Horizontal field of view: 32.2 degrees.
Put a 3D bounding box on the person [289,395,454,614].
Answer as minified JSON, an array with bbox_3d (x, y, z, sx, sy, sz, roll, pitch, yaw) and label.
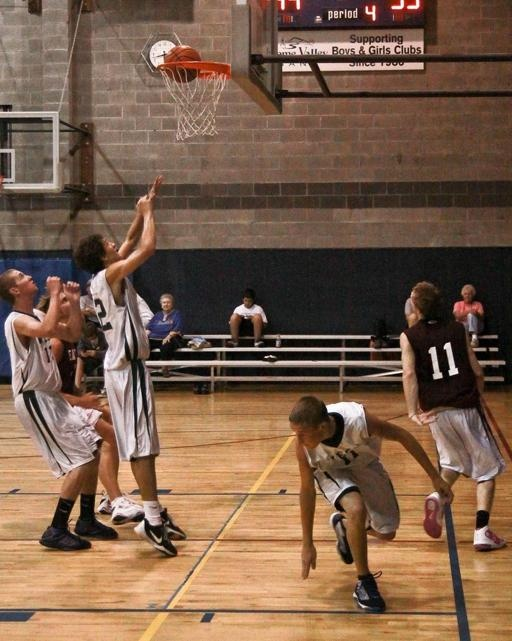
[{"bbox_3d":[0.495,0.686,3.777,0.488,0.806,0.768,2,8,32],"label":"person"}]

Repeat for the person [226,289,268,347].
[{"bbox_3d":[-0.089,-0.025,11.513,0.546,0.727,0.695,-1,-1,1],"label":"person"}]

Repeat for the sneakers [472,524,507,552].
[{"bbox_3d":[1.157,1.087,4.425,0.079,0.096,0.212,-2,-2,43],"label":"sneakers"}]

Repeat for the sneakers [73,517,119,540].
[{"bbox_3d":[-0.861,1.123,4.811,0.277,0.111,0.091,4,-1,5],"label":"sneakers"}]

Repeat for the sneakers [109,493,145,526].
[{"bbox_3d":[-0.667,1.042,4.911,0.291,0.199,0.095,-2,-4,2],"label":"sneakers"}]

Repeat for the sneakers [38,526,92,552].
[{"bbox_3d":[-0.982,1.128,4.616,0.286,0.130,0.109,6,2,-6],"label":"sneakers"}]

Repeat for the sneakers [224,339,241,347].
[{"bbox_3d":[-0.296,0.311,11.413,0.187,0.084,0.186,-7,22,-14],"label":"sneakers"}]

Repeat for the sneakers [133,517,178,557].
[{"bbox_3d":[-0.495,1.076,4.420,0.186,0.210,0.125,0,7,18],"label":"sneakers"}]

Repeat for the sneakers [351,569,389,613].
[{"bbox_3d":[0.479,1.135,3.754,0.132,0.152,0.136,-2,7,4],"label":"sneakers"}]

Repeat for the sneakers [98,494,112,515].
[{"bbox_3d":[-0.890,1.095,5.258,0.058,0.071,0.170,1,-10,-5],"label":"sneakers"}]
